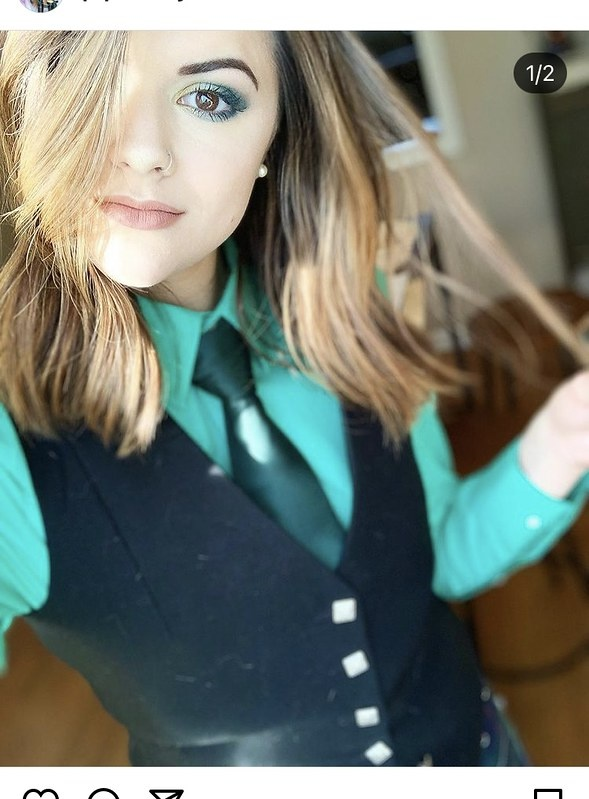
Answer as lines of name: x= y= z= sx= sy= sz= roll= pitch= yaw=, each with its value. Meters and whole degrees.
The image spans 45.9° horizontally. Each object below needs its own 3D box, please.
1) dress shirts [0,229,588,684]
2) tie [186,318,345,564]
dress shirts: x=0.053 y=0.086 z=1.061 sx=0.532 sy=0.201 sz=0.515 roll=-26 pitch=79 yaw=-2
tie: x=-0.073 y=0.045 z=0.933 sx=0.110 sy=0.050 sz=0.408 roll=-19 pitch=69 yaw=-28
